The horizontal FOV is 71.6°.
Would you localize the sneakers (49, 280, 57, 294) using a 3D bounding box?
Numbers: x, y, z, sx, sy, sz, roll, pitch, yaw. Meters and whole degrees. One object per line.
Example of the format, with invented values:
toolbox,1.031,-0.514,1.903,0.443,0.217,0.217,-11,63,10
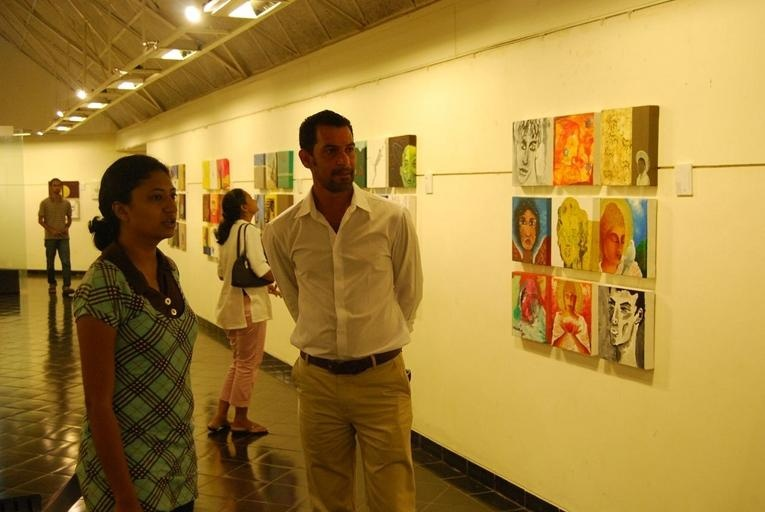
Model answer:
sneakers,-8.369,0.780,13.485,0.108,0.344,0.226,3,21,-17
